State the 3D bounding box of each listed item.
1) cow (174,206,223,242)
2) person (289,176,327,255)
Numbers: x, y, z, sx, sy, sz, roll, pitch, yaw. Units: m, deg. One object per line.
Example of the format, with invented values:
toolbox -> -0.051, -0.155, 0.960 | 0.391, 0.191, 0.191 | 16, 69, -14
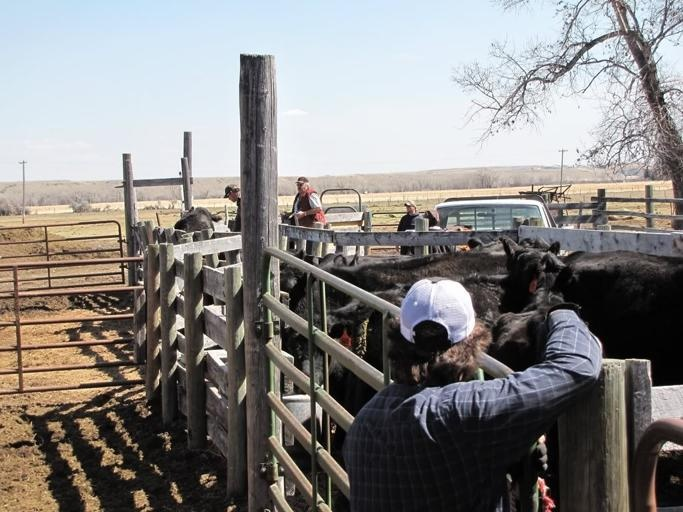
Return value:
cow -> -3.185, -0.805, 13.616 | 0.629, 0.824, 1.465 | 1, 19, 6
person -> -0.652, -0.710, 12.125 | 0.666, 1.794, 0.647 | -9, 19, -27
